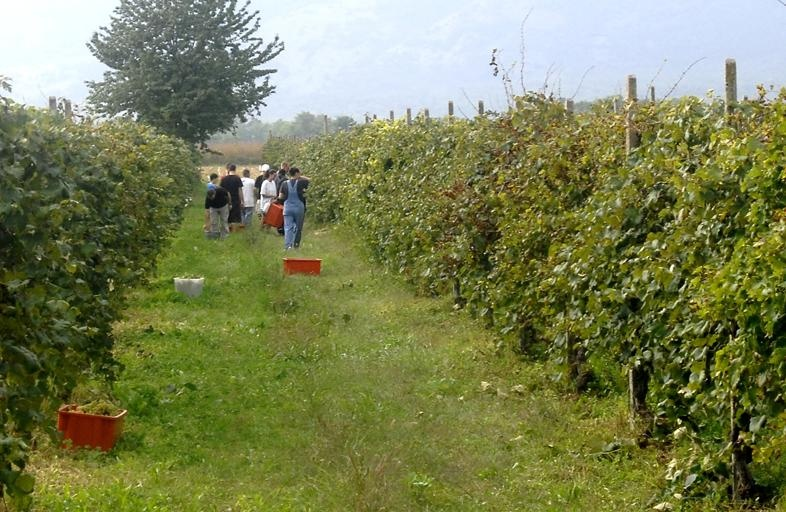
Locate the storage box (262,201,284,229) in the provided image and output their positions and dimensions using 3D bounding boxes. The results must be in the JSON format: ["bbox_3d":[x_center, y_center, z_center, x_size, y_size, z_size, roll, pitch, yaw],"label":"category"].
[{"bbox_3d":[-2.852,-1.011,18.332,0.362,0.687,0.392,1,31,-34],"label":"storage box"}]

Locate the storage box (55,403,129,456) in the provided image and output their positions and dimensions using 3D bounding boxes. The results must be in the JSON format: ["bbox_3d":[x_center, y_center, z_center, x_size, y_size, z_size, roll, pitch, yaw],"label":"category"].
[{"bbox_3d":[-2.992,1.684,7.742,0.864,0.473,0.642,1,1,-4],"label":"storage box"}]

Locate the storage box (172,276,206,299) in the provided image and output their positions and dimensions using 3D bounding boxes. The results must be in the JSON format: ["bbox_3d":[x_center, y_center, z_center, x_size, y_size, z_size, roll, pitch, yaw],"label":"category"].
[{"bbox_3d":[-3.132,0.482,11.846,0.445,0.260,0.438,0,6,-24],"label":"storage box"}]

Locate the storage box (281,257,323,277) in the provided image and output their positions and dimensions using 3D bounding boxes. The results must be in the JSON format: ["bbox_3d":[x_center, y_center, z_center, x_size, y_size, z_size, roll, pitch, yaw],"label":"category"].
[{"bbox_3d":[-1.650,0.198,13.877,0.677,0.284,0.614,2,6,-8],"label":"storage box"}]

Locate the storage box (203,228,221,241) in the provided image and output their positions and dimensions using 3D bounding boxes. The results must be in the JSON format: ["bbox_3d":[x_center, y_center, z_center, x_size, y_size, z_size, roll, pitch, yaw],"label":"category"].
[{"bbox_3d":[-3.977,-0.465,16.841,0.242,0.165,0.263,1,-1,33],"label":"storage box"}]
